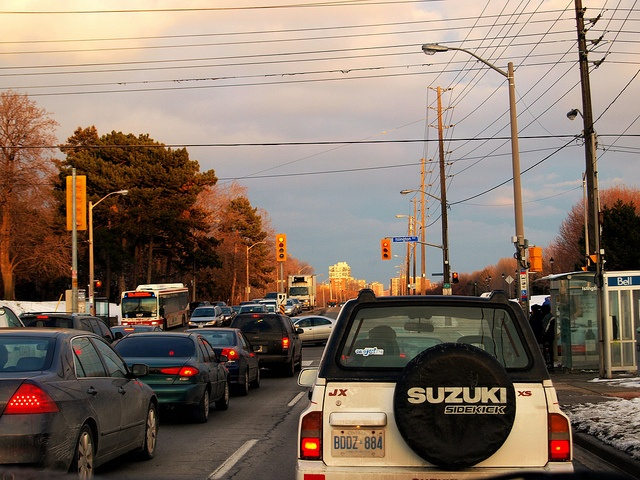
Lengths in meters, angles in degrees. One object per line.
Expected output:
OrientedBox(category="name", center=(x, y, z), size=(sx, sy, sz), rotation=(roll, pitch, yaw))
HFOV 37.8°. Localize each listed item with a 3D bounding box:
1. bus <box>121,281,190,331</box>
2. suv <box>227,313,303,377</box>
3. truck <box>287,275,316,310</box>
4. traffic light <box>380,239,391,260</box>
OrientedBox(category="bus", center=(-10.111, 4.118, 59.127), size=(2.382, 2.888, 9.352), rotation=(-3, -2, 2))
OrientedBox(category="suv", center=(-1.609, 3.008, 27.751), size=(2.002, 1.682, 4.431), rotation=(0, -3, 6))
OrientedBox(category="truck", center=(-1.816, 4.644, 90.092), size=(1.786, 2.246, 4.387), rotation=(0, -4, 3))
OrientedBox(category="traffic light", center=(4.096, 0.563, 57.750), size=(0.537, 1.220, 0.396), rotation=(3, -8, -35))
